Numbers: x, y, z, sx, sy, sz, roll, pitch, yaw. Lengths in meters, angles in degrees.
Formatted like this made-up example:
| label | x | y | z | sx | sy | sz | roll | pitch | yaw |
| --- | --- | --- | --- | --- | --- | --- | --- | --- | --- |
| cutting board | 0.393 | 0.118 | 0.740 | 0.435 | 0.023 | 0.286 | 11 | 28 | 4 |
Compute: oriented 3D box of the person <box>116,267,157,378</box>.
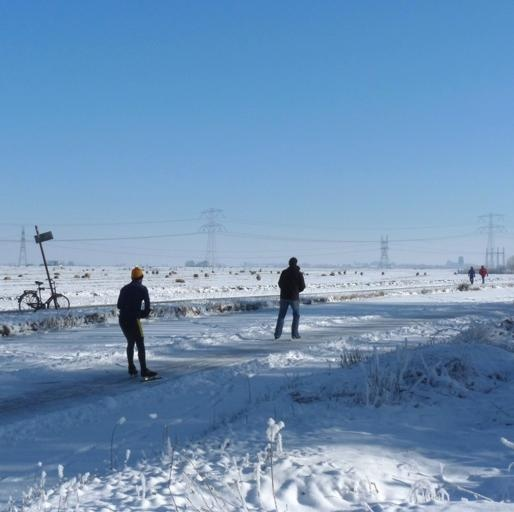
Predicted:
| label | x | y | z | sx | sy | sz | roll | pitch | yaw |
| --- | --- | --- | --- | --- | --- | --- | --- | --- | --- |
| person | -2.147 | 1.178 | 12.148 | 0.604 | 1.929 | 1.102 | -3 | 5 | -14 |

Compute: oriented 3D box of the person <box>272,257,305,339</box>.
| label | x | y | z | sx | sy | sz | roll | pitch | yaw |
| --- | --- | --- | --- | --- | --- | --- | --- | --- | --- |
| person | 0.803 | 1.087 | 17.173 | 0.790 | 2.123 | 1.351 | -2 | 5 | 2 |

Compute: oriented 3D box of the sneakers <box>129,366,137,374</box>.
| label | x | y | z | sx | sy | sz | roll | pitch | yaw |
| --- | --- | --- | --- | --- | --- | --- | --- | --- | --- |
| sneakers | -2.195 | 2.028 | 12.119 | 0.115 | 0.126 | 0.110 | -1 | -4 | 3 |
